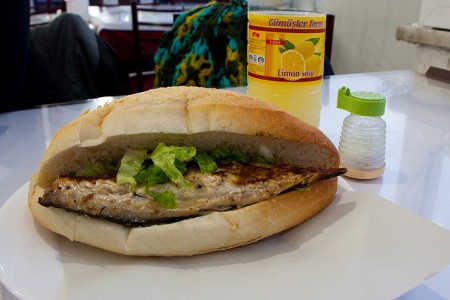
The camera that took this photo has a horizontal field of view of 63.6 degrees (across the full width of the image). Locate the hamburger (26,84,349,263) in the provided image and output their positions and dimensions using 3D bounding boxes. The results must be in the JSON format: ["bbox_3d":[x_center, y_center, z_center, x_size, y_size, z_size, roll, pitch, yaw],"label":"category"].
[{"bbox_3d":[-0.146,0.126,1.363,1.154,0.425,0.643,-6,28,-3],"label":"hamburger"}]
